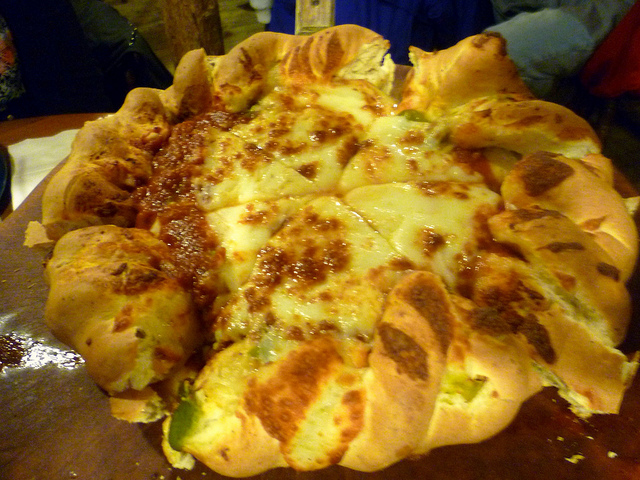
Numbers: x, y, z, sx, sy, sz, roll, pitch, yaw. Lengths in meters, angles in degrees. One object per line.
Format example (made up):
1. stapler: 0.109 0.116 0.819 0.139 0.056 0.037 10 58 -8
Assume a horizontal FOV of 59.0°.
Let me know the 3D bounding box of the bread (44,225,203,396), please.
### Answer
1. bread: -0.706 0.161 2.081 0.583 0.217 0.629 -19 61 -23

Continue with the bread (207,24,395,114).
1. bread: -0.079 -0.986 2.942 1.097 0.325 0.733 15 40 30
